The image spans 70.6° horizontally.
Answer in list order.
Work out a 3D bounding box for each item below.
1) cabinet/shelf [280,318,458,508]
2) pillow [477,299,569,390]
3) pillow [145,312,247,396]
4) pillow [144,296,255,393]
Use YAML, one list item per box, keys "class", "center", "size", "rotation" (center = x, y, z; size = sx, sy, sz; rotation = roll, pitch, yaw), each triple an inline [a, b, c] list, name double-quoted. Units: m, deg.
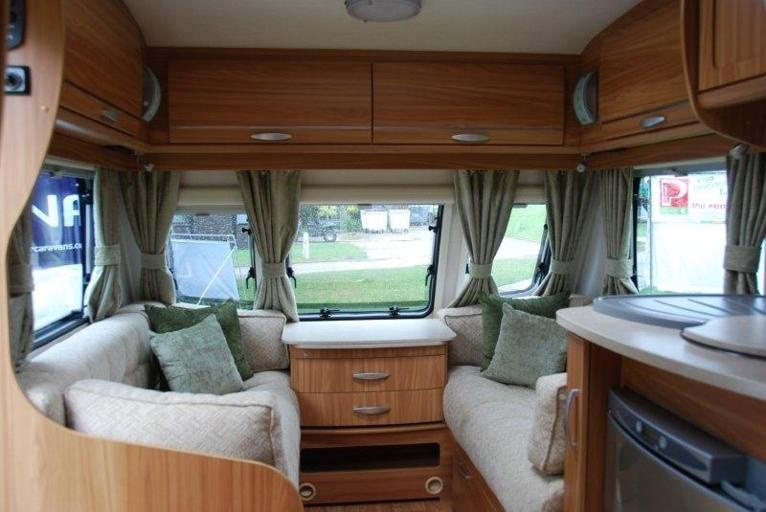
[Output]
- class: "cabinet/shelf"
  center: [-0.011, 0.776, 3.643]
  size: [1.463, 1.328, 0.930]
  rotation: [-1, 3, -4]
- class: "pillow"
  center: [0.737, 0.485, 2.998]
  size: [0.450, 0.405, 0.134]
  rotation: [12, -7, 36]
- class: "pillow"
  center: [-1.016, 0.560, 2.974]
  size: [0.251, 0.397, 0.478]
  rotation: [7, 11, 31]
- class: "pillow"
  center: [-1.064, 0.489, 3.163]
  size: [0.193, 0.490, 0.516]
  rotation: [-37, -20, 34]
